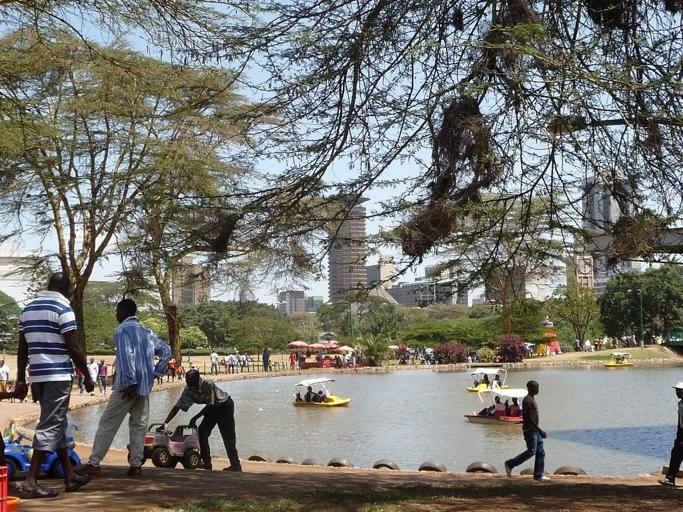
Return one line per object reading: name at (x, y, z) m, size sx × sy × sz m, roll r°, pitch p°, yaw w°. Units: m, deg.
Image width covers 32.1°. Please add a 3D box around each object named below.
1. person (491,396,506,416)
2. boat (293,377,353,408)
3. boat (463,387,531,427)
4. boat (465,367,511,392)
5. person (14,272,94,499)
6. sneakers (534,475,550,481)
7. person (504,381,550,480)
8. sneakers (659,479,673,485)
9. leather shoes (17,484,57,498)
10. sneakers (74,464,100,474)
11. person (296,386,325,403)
person at (4.374, 4.199, 32.920) m, size 0.365 × 0.428 × 0.720 m, roll 1°, pitch -2°, yaw 7°
boat at (-0.812, 4.620, 38.650) m, size 1.683 × 0.768 × 1.401 m, roll -1°, pitch -3°, yaw 10°
boat at (4.284, 4.316, 33.458) m, size 1.500 × 0.931 × 2.061 m, roll 6°, pitch -7°, yaw -37°
boat at (4.926, 4.524, 42.493) m, size 2.001 × 0.936 × 1.475 m, roll 0°, pitch -5°, yaw 13°
person at (-4.617, 2.057, 19.080) m, size 1.157 × 3.612 × 0.735 m, roll 2°, pitch -1°, yaw -13°
sneakers at (3.892, 4.292, 22.947) m, size 0.297 × 0.120 × 0.113 m, roll -1°, pitch 4°, yaw -8°
person at (3.650, 3.374, 23.063) m, size 0.733 × 1.876 × 0.732 m, roll 2°, pitch -1°, yaw -18°
sneakers at (6.168, 4.267, 22.436) m, size 0.269 × 0.126 × 0.275 m, roll 1°, pitch -2°, yaw 14°
leather shoes at (-4.857, 3.763, 19.001) m, size 0.539 × 0.198 × 0.277 m, roll 1°, pitch -1°, yaw -15°
sneakers at (-4.210, 3.591, 19.811) m, size 0.310 × 0.133 × 0.188 m, roll 12°, pitch -14°, yaw -14°
person at (-0.997, 4.541, 38.428) m, size 0.876 × 0.300 × 0.627 m, roll -1°, pitch 5°, yaw 4°
